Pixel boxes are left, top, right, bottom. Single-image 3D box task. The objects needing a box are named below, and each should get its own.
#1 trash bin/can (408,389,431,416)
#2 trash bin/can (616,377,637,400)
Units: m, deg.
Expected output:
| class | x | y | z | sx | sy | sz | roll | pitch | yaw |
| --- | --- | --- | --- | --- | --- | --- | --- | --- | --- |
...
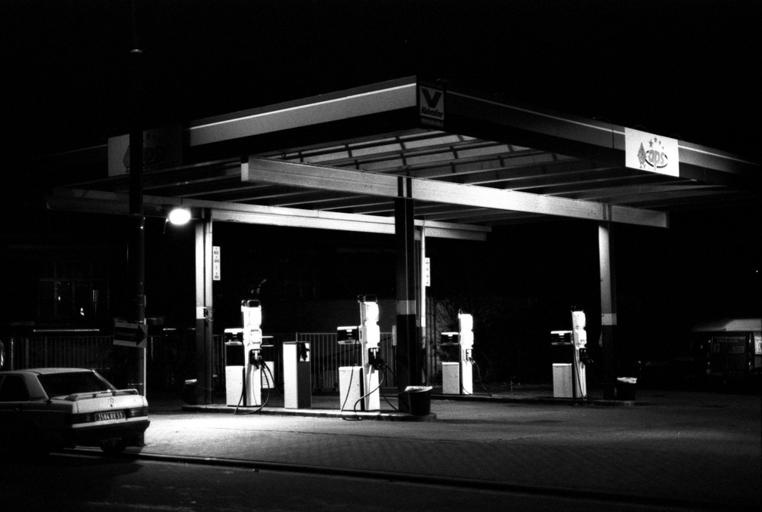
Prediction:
| class | x | y | z | sx | sy | sz | roll | pitch | yaw |
| --- | --- | --- | --- | --- | --- | --- | --- | --- | --- |
| trash bin/can | 1.084 | 3.743 | 20.912 | 0.615 | 0.680 | 0.626 | 0 | 2 | 42 |
| trash bin/can | 7.095 | 3.865 | 23.797 | 0.596 | 0.854 | 0.596 | 4 | -9 | -8 |
